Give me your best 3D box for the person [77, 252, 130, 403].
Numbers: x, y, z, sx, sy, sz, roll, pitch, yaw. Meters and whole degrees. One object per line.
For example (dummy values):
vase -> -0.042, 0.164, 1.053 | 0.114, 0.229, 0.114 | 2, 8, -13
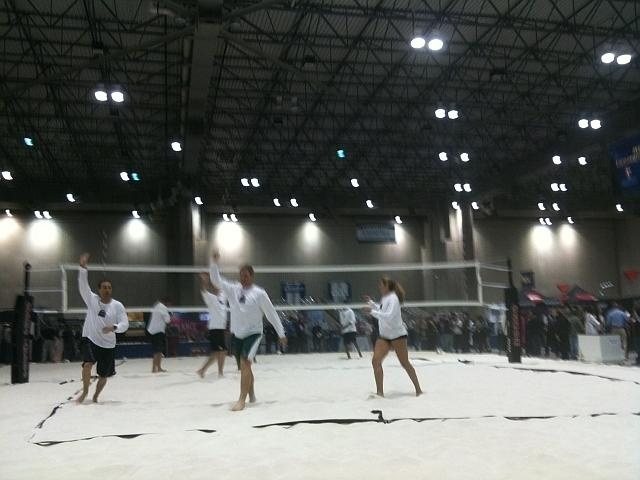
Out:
person -> -3.207, 1.282, 7.236 | 0.659, 2.162, 1.311 | 3, -10, -27

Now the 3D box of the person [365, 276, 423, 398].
person -> 1.103, 1.421, 7.248 | 0.735, 1.708, 1.248 | -4, -10, 9

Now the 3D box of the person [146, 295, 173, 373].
person -> -3.647, 2.185, 11.145 | 0.413, 1.597, 1.314 | 1, -10, -18
